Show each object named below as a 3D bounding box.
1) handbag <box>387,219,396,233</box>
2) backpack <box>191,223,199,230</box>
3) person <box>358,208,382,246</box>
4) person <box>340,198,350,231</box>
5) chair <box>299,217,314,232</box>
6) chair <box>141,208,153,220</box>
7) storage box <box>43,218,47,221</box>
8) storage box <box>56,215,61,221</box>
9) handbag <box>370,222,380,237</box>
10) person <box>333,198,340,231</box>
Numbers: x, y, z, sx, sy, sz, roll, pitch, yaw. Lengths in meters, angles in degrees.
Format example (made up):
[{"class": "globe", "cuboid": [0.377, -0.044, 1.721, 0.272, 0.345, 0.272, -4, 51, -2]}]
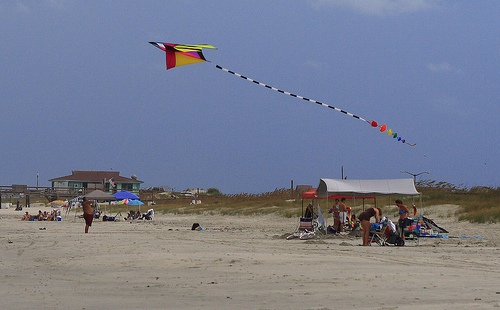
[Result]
[{"class": "handbag", "cuboid": [6.038, 3.002, 34.355, 0.154, 0.525, 0.326, -16, -2, 24]}, {"class": "backpack", "cuboid": [-2.780, 3.640, 41.135, 0.286, 0.402, 0.386, -2, 3, -9]}, {"class": "person", "cuboid": [5.164, 2.994, 34.658, 0.876, 1.342, 2.042, -1, 1, 9]}, {"class": "person", "cuboid": [4.495, 2.831, 38.474, 0.469, 1.326, 1.186, -1, 1, 9]}, {"class": "chair", "cuboid": [2.575, 3.170, 37.265, 0.613, 0.586, 0.614, 2, 1, 9]}, {"class": "chair", "cuboid": [-6.832, 4.063, 54.019, 0.468, 0.780, 1.423, 0, 7, -31]}, {"class": "storage box", "cuboid": [-13.131, 4.046, 51.728, 0.195, 0.212, 0.801, -2, 1, -7]}, {"class": "storage box", "cuboid": [-12.356, 4.074, 52.111, 0.456, 0.445, 0.344, 1, 2, -9]}, {"class": "handbag", "cuboid": [5.368, 3.207, 34.992, 0.396, 0.512, 0.521, 24, 16, 36]}, {"class": "person", "cuboid": [4.140, 2.861, 38.671, 0.338, 1.313, 1.245, -1, 1, 6]}]
